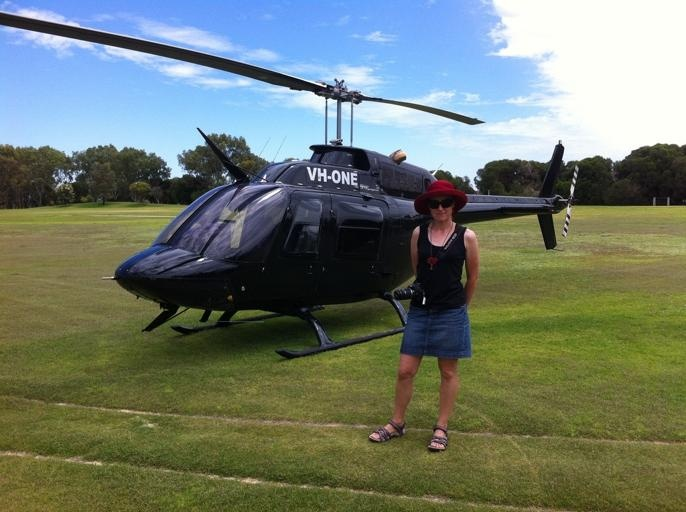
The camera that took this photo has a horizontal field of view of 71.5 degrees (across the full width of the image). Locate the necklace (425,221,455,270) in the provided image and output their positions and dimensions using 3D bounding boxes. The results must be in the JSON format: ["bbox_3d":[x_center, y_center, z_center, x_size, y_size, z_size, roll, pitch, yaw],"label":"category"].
[{"bbox_3d":[0.952,-0.074,4.610,0.248,0.356,0.148,-1,12,3],"label":"necklace"}]

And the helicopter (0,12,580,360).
[{"bbox_3d":[-0.209,-1.011,8.589,2.626,4.736,8.282,9,14,41],"label":"helicopter"}]

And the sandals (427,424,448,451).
[{"bbox_3d":[0.939,1.798,4.662,0.138,0.106,0.326,-2,-10,16],"label":"sandals"}]

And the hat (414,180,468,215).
[{"bbox_3d":[1.124,-0.584,4.808,0.156,0.342,0.470,17,11,23],"label":"hat"}]

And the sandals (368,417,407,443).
[{"bbox_3d":[0.468,1.797,4.903,0.471,0.143,0.153,2,-6,-27],"label":"sandals"}]

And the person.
[{"bbox_3d":[0.925,0.583,4.771,0.764,2.622,0.944,6,14,32],"label":"person"}]
